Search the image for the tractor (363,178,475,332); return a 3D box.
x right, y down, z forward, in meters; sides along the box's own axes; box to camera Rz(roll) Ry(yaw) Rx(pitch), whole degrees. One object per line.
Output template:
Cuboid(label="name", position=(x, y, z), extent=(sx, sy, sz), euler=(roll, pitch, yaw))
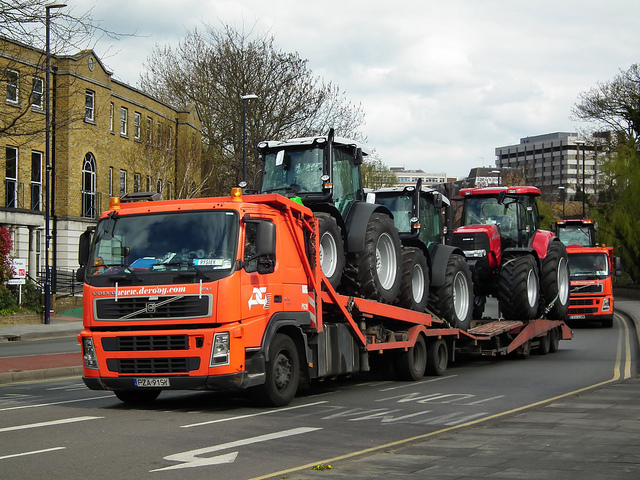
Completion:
Cuboid(label="tractor", position=(1.888, 0.454, 16.730), extent=(2.353, 3.327, 3.726), euler=(-4, -14, 29))

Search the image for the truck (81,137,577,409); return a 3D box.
Cuboid(label="truck", position=(1.710, 0.842, 17.851), extent=(4.780, 5.617, 16.621), euler=(-4, -5, 33))

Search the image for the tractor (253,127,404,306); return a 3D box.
Cuboid(label="tractor", position=(-0.105, -0.319, 14.096), extent=(2.861, 3.244, 3.969), euler=(-3, -8, 17))

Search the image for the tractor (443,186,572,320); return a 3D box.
Cuboid(label="tractor", position=(5.021, 0.234, 20.579), extent=(2.878, 3.568, 5.135), euler=(-2, 2, 29))

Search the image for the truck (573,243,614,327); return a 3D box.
Cuboid(label="truck", position=(11.818, 1.904, 31.908), extent=(2.445, 3.356, 6.691), euler=(-1, -3, 23))

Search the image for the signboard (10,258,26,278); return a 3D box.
Cuboid(label="signboard", position=(-11.927, 1.097, 28.456), extent=(0.706, 0.892, 0.092), euler=(-1, -15, -17))
